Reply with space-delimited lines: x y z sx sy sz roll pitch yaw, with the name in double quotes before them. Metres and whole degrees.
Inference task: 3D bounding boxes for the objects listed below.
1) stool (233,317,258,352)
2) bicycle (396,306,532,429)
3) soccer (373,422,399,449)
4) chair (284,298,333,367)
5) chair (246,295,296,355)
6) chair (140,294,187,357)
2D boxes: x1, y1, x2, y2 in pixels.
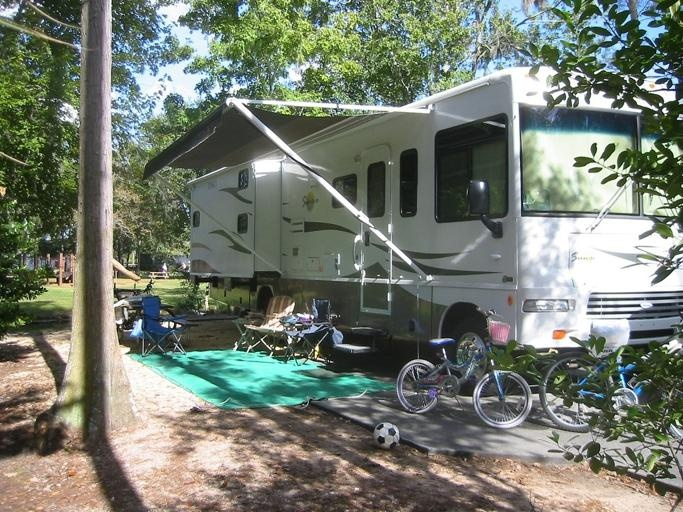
"stool" -1.805 1.606 10.359 0.504 0.634 0.522 13 -7 -29
"bicycle" 1.328 1.263 5.917 1.586 1.133 0.696 -3 -18 41
"soccer" 0.433 1.698 5.106 0.204 0.223 0.214 5 2 10
"chair" -0.460 1.262 9.095 0.925 1.290 1.120 8 -16 -32
"chair" -1.385 1.259 9.926 0.795 1.234 1.144 -2 -3 38
"chair" -3.343 1.266 9.869 0.650 1.054 1.558 0 1 -20
